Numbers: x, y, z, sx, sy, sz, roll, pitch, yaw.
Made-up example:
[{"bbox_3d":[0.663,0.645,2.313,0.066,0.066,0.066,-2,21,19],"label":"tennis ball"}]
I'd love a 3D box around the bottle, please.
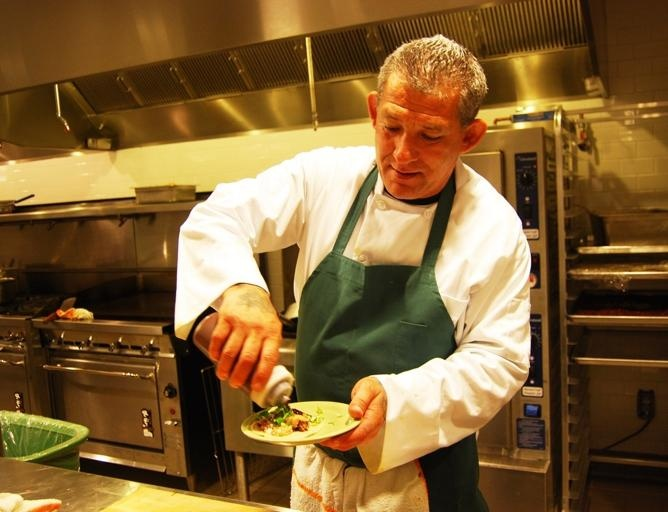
[{"bbox_3d":[-0.236,0.280,1.374,0.308,0.266,0.128,1,11,43],"label":"bottle"}]

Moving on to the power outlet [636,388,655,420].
[{"bbox_3d":[2.040,0.973,3.533,0.114,0.211,0.051,-1,9,29],"label":"power outlet"}]
